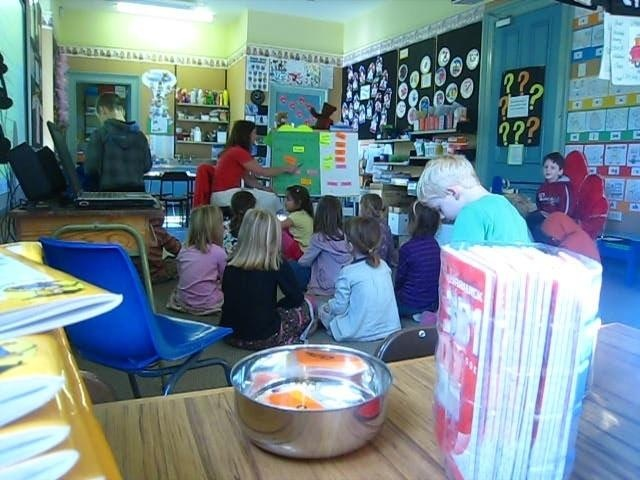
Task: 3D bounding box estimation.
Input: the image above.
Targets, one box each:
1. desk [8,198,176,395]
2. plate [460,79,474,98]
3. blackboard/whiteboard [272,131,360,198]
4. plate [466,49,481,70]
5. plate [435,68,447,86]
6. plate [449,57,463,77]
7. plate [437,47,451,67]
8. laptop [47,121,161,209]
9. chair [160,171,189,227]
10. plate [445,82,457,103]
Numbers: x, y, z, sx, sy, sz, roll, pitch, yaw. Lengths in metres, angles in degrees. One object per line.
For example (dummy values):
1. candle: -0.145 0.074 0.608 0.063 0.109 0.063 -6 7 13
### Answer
1. desk: -1.206 0.228 2.463 0.775 0.754 0.624 1 4 43
2. plate: 1.855 -1.923 6.155 0.047 0.199 0.183 1 10 -31
3. blackboard/whiteboard: -0.084 -0.894 5.637 0.967 0.795 0.582 -3 6 -13
4. plate: 1.894 -2.244 6.031 0.015 0.245 0.256 0 9 -20
5. plate: 1.651 -2.244 6.674 0.029 0.195 0.181 1 23 -31
6. plate: 1.766 -2.255 6.320 0.041 0.204 0.186 -4 16 -33
7. plate: 1.668 -2.476 6.572 0.024 0.249 0.280 0 9 -20
8. laptop: -1.125 -0.296 2.480 0.501 0.287 0.539 -5 -1 3
9. chair: -2.149 -0.587 7.209 0.454 0.791 0.524 -1 -1 4
10. plate: 1.749 -1.951 6.446 0.045 0.214 0.197 -1 9 -27
